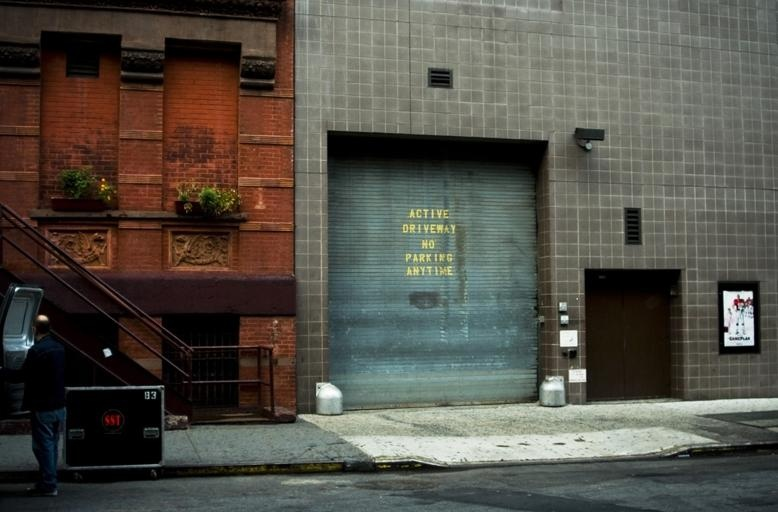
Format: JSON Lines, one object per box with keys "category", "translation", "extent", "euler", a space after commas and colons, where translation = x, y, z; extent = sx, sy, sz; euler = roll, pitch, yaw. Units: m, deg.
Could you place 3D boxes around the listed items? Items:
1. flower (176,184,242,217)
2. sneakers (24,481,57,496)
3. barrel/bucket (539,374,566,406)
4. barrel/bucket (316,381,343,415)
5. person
{"category": "flower", "translation": [-4.675, -1.405, 28.017], "extent": [1.001, 0.620, 1.109], "euler": [1, 1, -12]}
{"category": "sneakers", "translation": [-6.960, 4.669, 21.829], "extent": [0.602, 0.259, 0.241], "euler": [3, -5, 0]}
{"category": "barrel/bucket", "translation": [4.454, 3.639, 29.357], "extent": [0.700, 0.770, 0.713], "euler": [1, 1, 0]}
{"category": "barrel/bucket", "translation": [-1.539, 3.656, 28.102], "extent": [0.765, 0.799, 0.714], "euler": [1, 3, 0]}
{"category": "person", "translation": [-7.018, 3.011, 22.141], "extent": [0.768, 3.577, 0.783], "euler": [-1, -2, -8]}
